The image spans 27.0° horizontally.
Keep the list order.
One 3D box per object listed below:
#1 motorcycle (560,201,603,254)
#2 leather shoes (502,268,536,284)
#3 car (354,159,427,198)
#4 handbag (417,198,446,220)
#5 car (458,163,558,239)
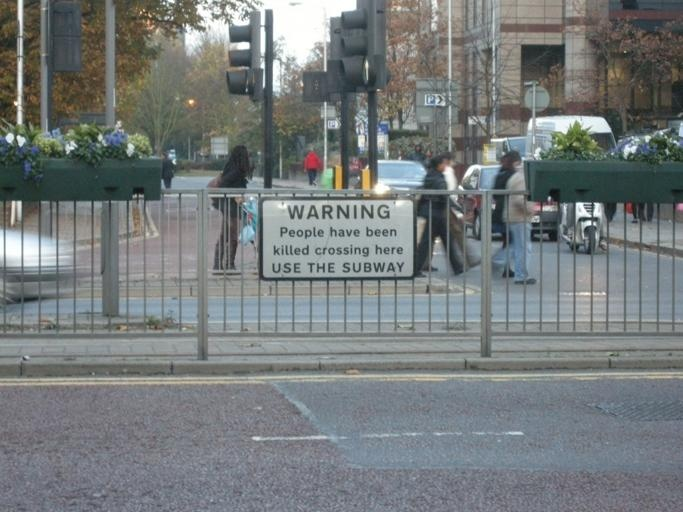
[{"bbox_3d":[2.778,-0.326,16.580,0.312,0.467,0.768,1,-1,-9],"label":"motorcycle"},{"bbox_3d":[2.041,0.248,16.614,0.383,0.180,0.094,0,4,7],"label":"leather shoes"},{"bbox_3d":[1.239,-1.695,30.437,0.886,0.737,1.545,-1,1,-9],"label":"car"},{"bbox_3d":[1.034,-0.563,16.566,0.367,0.269,0.212,0,7,-6],"label":"handbag"},{"bbox_3d":[2.080,-0.655,17.733,1.164,1.043,1.929,-2,8,-8],"label":"car"}]
